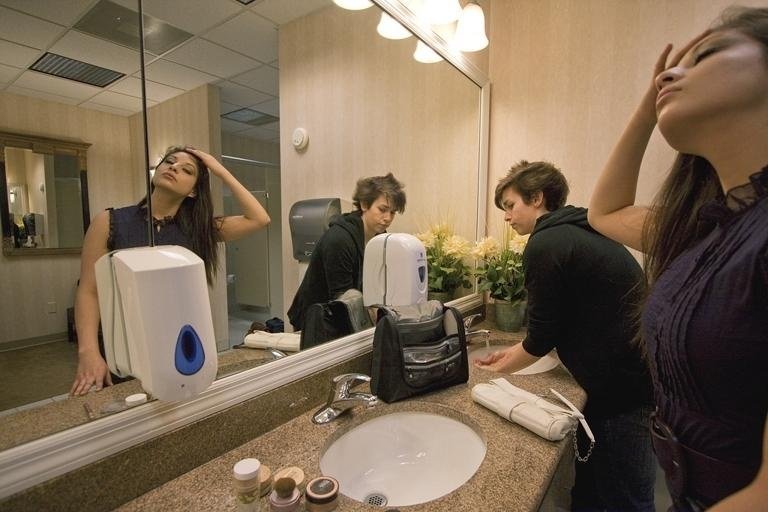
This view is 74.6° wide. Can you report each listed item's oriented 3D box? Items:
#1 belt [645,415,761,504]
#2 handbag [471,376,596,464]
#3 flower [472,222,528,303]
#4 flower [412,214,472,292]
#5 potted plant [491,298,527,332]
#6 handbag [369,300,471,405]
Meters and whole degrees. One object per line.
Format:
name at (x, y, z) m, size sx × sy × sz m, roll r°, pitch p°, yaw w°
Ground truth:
belt at (0.728, 0.466, 1.159) m, size 0.146 × 0.136 × 0.179 m, roll 6°, pitch -3°, yaw -30°
handbag at (0.433, 0.452, 1.496) m, size 0.293 × 0.070 × 0.280 m, roll 13°, pitch 7°, yaw 37°
flower at (0.562, 0.053, 2.403) m, size 0.326 × 0.342 × 0.294 m, roll -10°, pitch -11°, yaw 24°
flower at (0.194, 0.034, 2.283) m, size 0.304 × 0.348 × 0.256 m, roll 5°, pitch -7°, yaw -41°
potted plant at (0.562, 0.266, 2.268) m, size 0.141 × 0.112 × 0.143 m, roll 1°, pitch -7°, yaw -4°
handbag at (0.120, 0.301, 1.680) m, size 0.348 × 0.281 × 0.182 m, roll -5°, pitch 8°, yaw -30°
